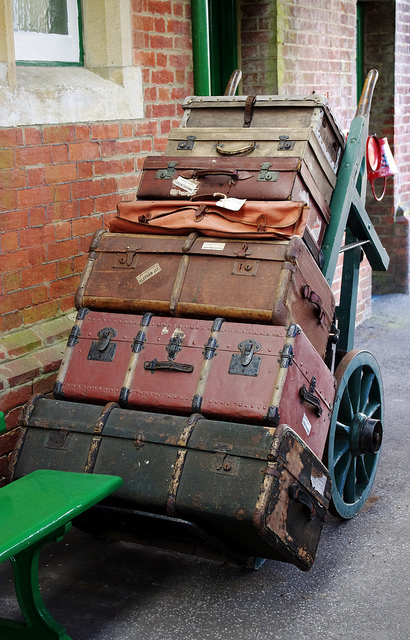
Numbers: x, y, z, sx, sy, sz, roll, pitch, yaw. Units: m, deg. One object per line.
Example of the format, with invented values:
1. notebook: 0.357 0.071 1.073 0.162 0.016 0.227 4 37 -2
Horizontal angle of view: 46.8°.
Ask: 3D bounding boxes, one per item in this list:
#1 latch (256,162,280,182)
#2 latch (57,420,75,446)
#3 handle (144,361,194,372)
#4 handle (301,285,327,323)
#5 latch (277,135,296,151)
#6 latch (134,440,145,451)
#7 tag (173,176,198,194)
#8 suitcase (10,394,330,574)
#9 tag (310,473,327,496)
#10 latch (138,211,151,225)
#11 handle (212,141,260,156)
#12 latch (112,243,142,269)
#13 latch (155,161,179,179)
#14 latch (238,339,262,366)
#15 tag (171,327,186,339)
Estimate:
1. latch: 0.284 -0.662 2.133 0.098 0.067 0.104 2 26 12
2. latch: -0.523 0.423 1.775 0.073 0.081 0.020 8 -7 22
3. handle: -0.127 0.176 1.799 0.174 0.046 0.032 4 -4 30
4. handle: 0.467 -0.074 2.016 0.048 0.161 0.105 -25 19 30
5. latch: 0.383 -0.840 2.251 0.078 0.061 0.097 1 25 10
6. latch: -0.232 0.432 1.626 0.030 0.033 0.008 -1 -16 20
7. tag: -0.095 -0.645 2.264 0.097 0.028 0.073 28 78 24
8. suitcase: -0.209 0.441 1.728 0.867 0.380 0.355 9 13 -1
9. tag: 0.422 0.609 1.758 0.025 0.097 0.091 -10 -11 33
10. latch: -0.276 -0.467 2.186 0.067 0.043 0.049 9 27 24
11. handle: 0.142 -0.848 2.353 0.260 0.056 0.087 10 28 27
12. latch: -0.353 -0.290 2.157 0.131 0.094 0.093 7 27 21
13. latch: -0.192 -0.751 2.379 0.110 0.073 0.088 9 27 24
14. latch: 0.154 0.112 1.715 0.065 0.018 0.091 4 52 30
15. tag: -0.101 0.053 1.876 0.041 0.012 0.044 6 59 31
